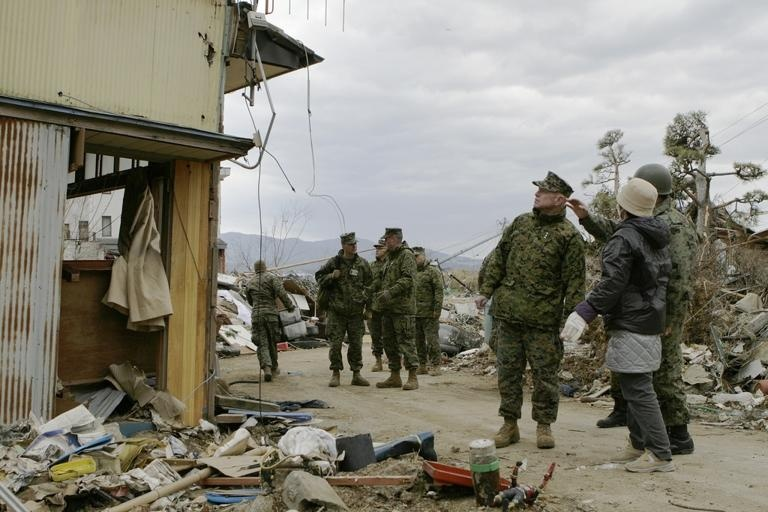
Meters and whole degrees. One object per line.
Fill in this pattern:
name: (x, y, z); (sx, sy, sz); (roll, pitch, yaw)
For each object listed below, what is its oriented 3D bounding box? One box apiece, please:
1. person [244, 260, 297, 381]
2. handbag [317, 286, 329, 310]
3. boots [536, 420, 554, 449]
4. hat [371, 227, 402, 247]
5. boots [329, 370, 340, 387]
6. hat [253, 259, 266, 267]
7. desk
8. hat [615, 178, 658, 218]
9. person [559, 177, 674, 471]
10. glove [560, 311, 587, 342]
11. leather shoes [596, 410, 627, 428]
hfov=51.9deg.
person: (-2.161, 1.269, 14.308); (0.720, 1.941, 0.809); (-2, -4, 28)
handbag: (-1.037, 0.730, 13.499); (0.178, 0.372, 0.239); (0, -4, -3)
boots: (1.873, 2.090, 9.181); (0.207, 0.279, 0.204); (-1, -4, 9)
hat: (0.057, -0.298, 13.934); (0.669, 0.350, 0.399); (0, -3, -4)
boots: (-0.820, 2.164, 13.544); (0.132, 0.259, 0.333); (-3, -23, 7)
hat: (-2.393, 0.149, 15.162); (0.203, 0.215, 0.230); (1, 18, -6)
desk: (-3.346, 0.935, 10.720); (1.972, 1.593, 1.428); (4, 0, -17)
hat: (2.817, -0.682, 8.695); (0.518, 0.330, 0.570); (-3, 23, -3)
person: (2.614, 0.708, 8.472); (1.178, 3.145, 0.418); (0, -4, -6)
glove: (2.005, 0.779, 8.316); (0.234, 0.388, 0.105); (14, -32, 27)
leather shoes: (2.887, 2.130, 10.220); (0.495, 0.192, 0.156); (1, -7, -12)
